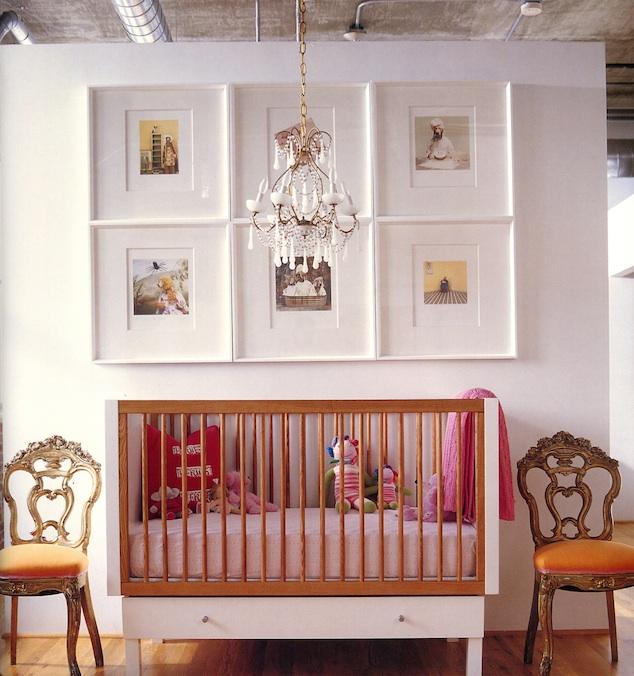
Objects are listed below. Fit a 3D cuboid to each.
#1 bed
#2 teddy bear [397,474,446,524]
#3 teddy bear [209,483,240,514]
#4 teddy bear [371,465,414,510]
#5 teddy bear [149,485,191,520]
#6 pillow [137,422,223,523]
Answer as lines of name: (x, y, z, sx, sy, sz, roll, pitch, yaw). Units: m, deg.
bed: (-0.047, 0.781, 3.210, 1.578, 1.146, 0.978, -1, 2, 11)
teddy bear: (0.442, 0.663, 3.177, 0.166, 0.229, 0.132, 23, -28, -23)
teddy bear: (-0.406, 0.652, 3.213, 0.136, 0.108, 0.154, -2, 1, -4)
teddy bear: (0.320, 0.655, 3.373, 0.174, 0.200, 0.112, 1, -11, -3)
teddy bear: (-0.638, 0.713, 3.240, 0.141, 0.211, 0.065, -14, -2, -44)
pillow: (-0.570, 0.572, 3.245, 0.350, 0.447, 0.109, -3, -1, -30)
